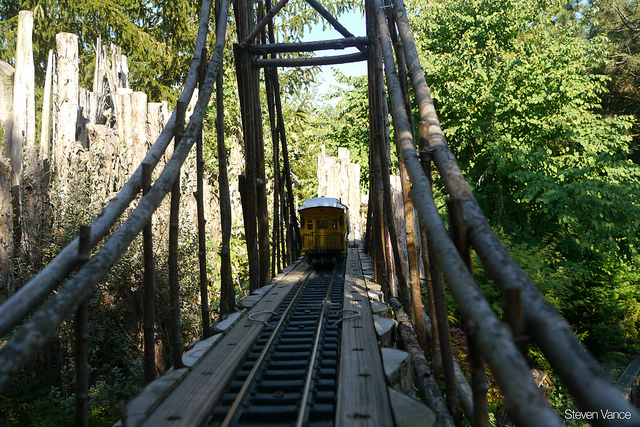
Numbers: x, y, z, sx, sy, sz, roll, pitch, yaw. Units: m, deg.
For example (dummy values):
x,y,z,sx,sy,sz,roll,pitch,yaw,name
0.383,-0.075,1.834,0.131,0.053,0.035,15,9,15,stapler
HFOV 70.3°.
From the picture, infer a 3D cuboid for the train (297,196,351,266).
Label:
x,y,z,sx,sy,sz,roll,pitch,yaw,name
0.141,0.456,14.746,1.556,2.522,1.609,-2,-14,-3,train
